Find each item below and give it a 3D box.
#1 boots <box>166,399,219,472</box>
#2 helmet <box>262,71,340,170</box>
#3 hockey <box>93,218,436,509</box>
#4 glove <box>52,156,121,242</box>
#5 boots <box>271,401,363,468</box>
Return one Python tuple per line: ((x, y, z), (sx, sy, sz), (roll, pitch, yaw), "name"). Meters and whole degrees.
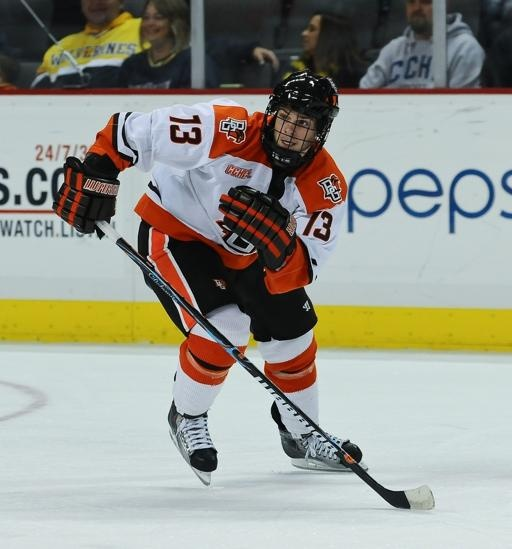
((-0.193, 0.511, 2.476), (0.095, 0.120, 0.271), (-11, 31, -20), "boots")
((0.129, -0.471, 2.370), (0.225, 0.280, 0.136), (2, 10, 1), "helmet")
((0.092, 0.340, 2.935), (0.287, 1.501, 0.119), (-55, 3, -22), "hockey")
((-0.531, -0.270, 2.548), (0.190, 0.228, 0.177), (36, 40, 24), "glove")
((0.207, 0.551, 2.668), (0.323, 0.194, 0.112), (-1, 42, 35), "boots")
